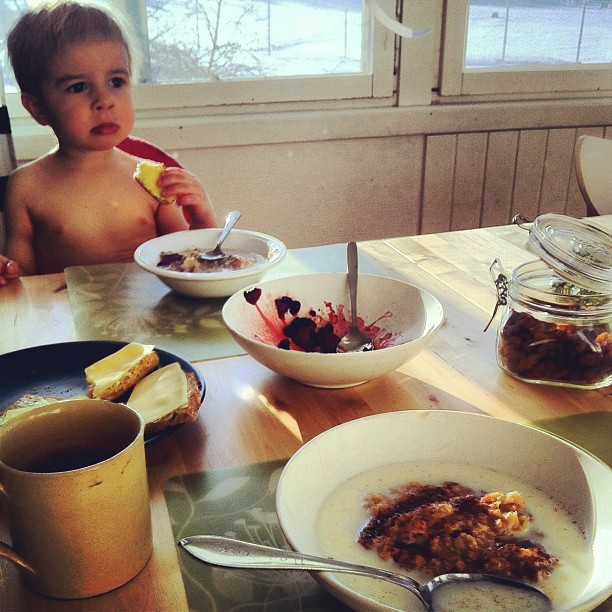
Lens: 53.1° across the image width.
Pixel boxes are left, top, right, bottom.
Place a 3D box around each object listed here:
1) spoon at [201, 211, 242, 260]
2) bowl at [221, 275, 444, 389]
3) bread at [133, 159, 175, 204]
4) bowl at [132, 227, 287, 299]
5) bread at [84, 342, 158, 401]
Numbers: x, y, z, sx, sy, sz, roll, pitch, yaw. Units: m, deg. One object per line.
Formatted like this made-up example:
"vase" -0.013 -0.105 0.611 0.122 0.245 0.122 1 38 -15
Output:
"spoon" -0.150 -0.119 1.095 0.037 0.018 0.127 12 55 13
"bowl" 0.026 0.032 0.721 0.245 0.065 0.225 1 25 0
"bread" -0.305 -0.239 1.211 0.025 0.080 0.079 -37 11 32
"bowl" -0.155 -0.049 0.975 0.235 0.050 0.209 -2 15 -19
"bread" -0.177 0.064 0.613 0.067 0.017 0.048 -26 41 -24
